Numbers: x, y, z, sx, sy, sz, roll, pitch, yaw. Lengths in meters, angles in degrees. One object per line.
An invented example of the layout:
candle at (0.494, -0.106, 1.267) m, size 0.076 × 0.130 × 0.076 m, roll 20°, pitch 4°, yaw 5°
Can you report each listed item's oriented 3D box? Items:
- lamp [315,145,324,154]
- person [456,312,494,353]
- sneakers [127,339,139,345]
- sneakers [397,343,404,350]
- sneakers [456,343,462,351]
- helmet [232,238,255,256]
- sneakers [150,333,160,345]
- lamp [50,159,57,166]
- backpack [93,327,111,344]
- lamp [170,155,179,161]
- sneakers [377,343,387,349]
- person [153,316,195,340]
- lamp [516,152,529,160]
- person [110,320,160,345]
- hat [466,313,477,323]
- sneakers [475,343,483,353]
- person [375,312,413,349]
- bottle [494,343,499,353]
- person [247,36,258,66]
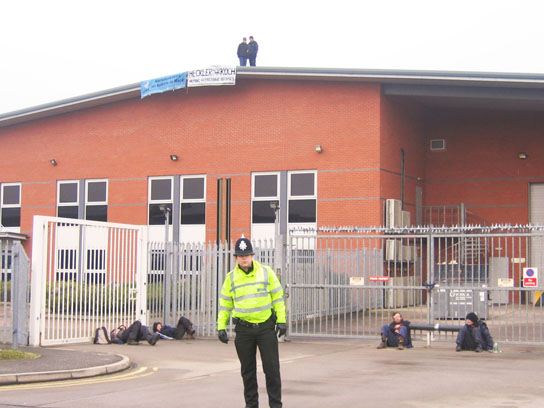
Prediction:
lamp at (1.820, -2.139, 36.350) m, size 0.313 × 0.333 × 0.283 m, roll 0°, pitch 7°, yaw 8°
person at (5.212, 3.355, 24.407) m, size 0.983 × 1.012 × 1.255 m, roll -4°, pitch -9°, yaw 26°
sneakers at (-3.764, 3.753, 25.311) m, size 0.241 × 0.243 × 0.126 m, roll 0°, pitch -7°, yaw 8°
sneakers at (3.377, 3.758, 24.716) m, size 0.098 × 0.143 × 0.335 m, roll -1°, pitch -13°, yaw 9°
sneakers at (4.821, 3.727, 24.325) m, size 0.162 × 0.195 × 0.154 m, roll -7°, pitch -10°, yaw 30°
helmet at (-0.571, 0.831, 18.304) m, size 0.353 × 0.396 × 0.365 m, roll -1°, pitch -9°, yaw -3°
sneakers at (-3.179, 3.642, 25.238) m, size 0.130 × 0.363 × 0.251 m, roll 14°, pitch 10°, yaw -45°
lamp at (-9.547, -1.804, 40.865) m, size 0.230 × 0.341 × 0.278 m, roll 2°, pitch 5°, yaw 14°
backpack at (-4.640, 3.601, 25.506) m, size 0.409 × 0.448 × 0.443 m, roll -3°, pitch -3°, yaw -1°
lamp at (-4.034, -1.880, 38.513) m, size 0.221 × 0.159 × 0.256 m, roll -1°, pitch -10°, yaw -1°
sneakers at (2.897, 3.769, 24.801) m, size 0.310 × 0.137 × 0.106 m, roll 1°, pitch -1°, yaw 35°
person at (-2.820, 3.520, 26.626) m, size 1.003 × 0.531 × 0.615 m, roll -23°, pitch -13°, yaw 23°
lamp at (10.608, -2.058, 39.741) m, size 0.317 × 0.317 × 0.197 m, roll 0°, pitch -3°, yaw 13°
person at (-3.751, 3.558, 25.392) m, size 1.094 × 0.484 × 0.632 m, roll -17°, pitch -19°, yaw 33°
hat at (5.164, 2.946, 24.369) m, size 0.205 × 0.231 × 0.275 m, roll 9°, pitch 8°, yaw 32°
sneakers at (5.348, 3.729, 24.163) m, size 0.222 × 0.192 × 0.090 m, roll 0°, pitch -9°, yaw -11°
person at (3.284, 3.374, 25.022) m, size 1.065 × 1.009 × 0.917 m, roll 11°, pitch -17°, yaw -26°
bottle at (5.793, 3.741, 24.297) m, size 0.111 × 0.238 × 0.459 m, roll -4°, pitch -10°, yaw 13°
person at (-0.886, -6.459, 39.651) m, size 0.417 × 1.349 × 0.413 m, roll -4°, pitch -9°, yaw 14°
